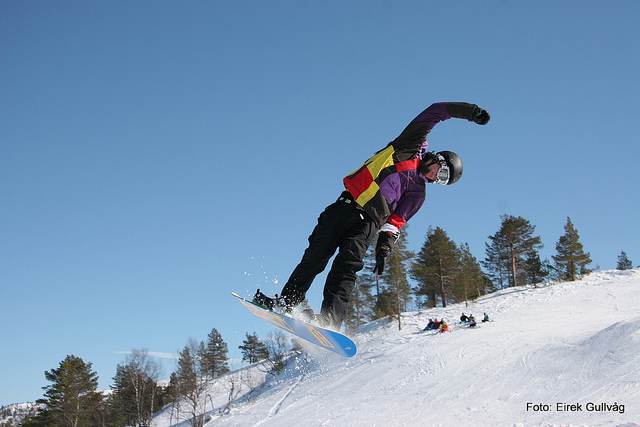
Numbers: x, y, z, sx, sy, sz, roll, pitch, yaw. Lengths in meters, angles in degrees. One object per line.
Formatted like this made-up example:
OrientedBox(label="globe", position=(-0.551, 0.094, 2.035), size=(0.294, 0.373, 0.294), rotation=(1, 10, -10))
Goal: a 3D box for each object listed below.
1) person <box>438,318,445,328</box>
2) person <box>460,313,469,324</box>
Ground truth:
OrientedBox(label="person", position=(10.388, 9.475, 45.397), size=(0.251, 1.051, 0.146), rotation=(12, 1, 29))
OrientedBox(label="person", position=(13.030, 9.509, 47.863), size=(0.707, 0.307, 1.108), rotation=(0, 9, 11))
